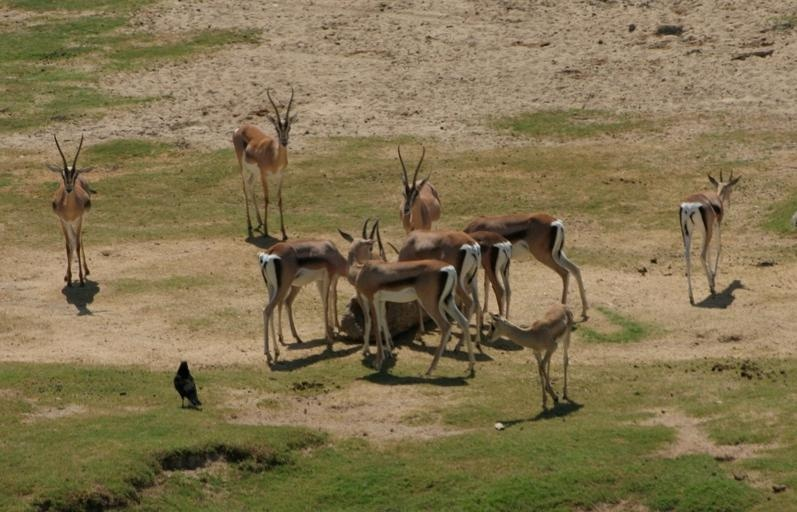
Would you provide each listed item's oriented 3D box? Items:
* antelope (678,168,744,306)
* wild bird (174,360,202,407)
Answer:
[{"bbox_3d":[10.887,-0.783,48.042,1.929,4.139,6.052,0,5,13],"label":"antelope"},{"bbox_3d":[-6.151,3.634,40.020,0.717,1.389,0.896,-3,6,-9],"label":"wild bird"}]
